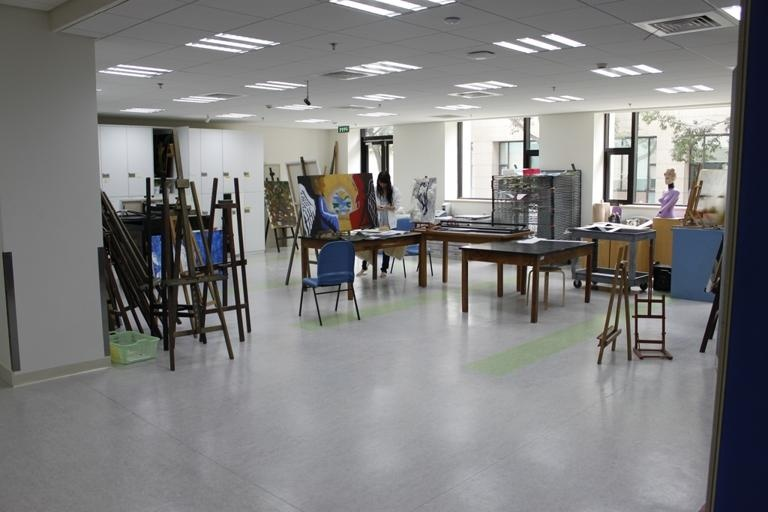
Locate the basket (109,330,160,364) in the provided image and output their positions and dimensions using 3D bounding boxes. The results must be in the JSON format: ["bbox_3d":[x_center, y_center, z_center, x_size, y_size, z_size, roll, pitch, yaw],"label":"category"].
[{"bbox_3d":[-3.313,1.183,6.881,0.515,0.256,0.722,-10,15,-41],"label":"basket"}]
